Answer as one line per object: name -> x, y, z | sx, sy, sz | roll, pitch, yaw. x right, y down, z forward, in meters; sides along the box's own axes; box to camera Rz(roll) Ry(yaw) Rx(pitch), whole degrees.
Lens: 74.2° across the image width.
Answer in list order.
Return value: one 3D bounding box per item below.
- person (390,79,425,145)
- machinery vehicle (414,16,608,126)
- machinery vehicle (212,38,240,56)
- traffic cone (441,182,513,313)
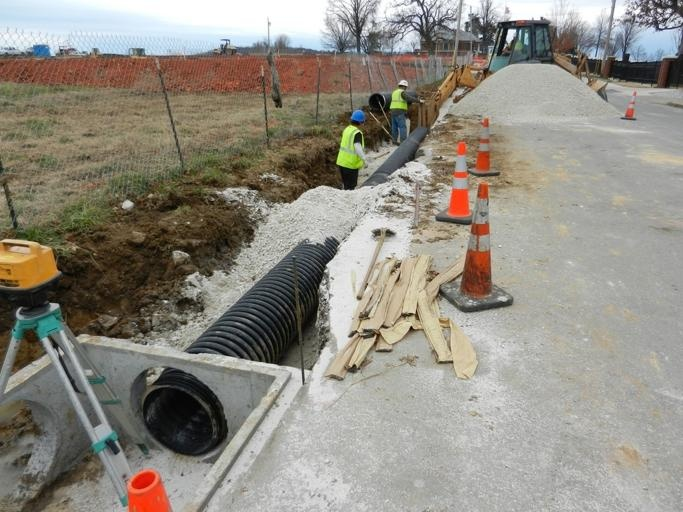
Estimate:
person -> 1.849, -4.132, 13.155 | 0.922, 1.772, 0.867 | 4, 20, 7
machinery vehicle -> 6.078, -6.555, 15.847 | 6.980, 3.344, 2.394 | -15, 36, -2
machinery vehicle -> -3.624, -6.363, 13.873 | 0.597, 0.435, 11.972 | -6, 24, -12
traffic cone -> 1.331, -0.098, 4.317 | 0.654, 1.134, 0.516 | -7, 24, -13
